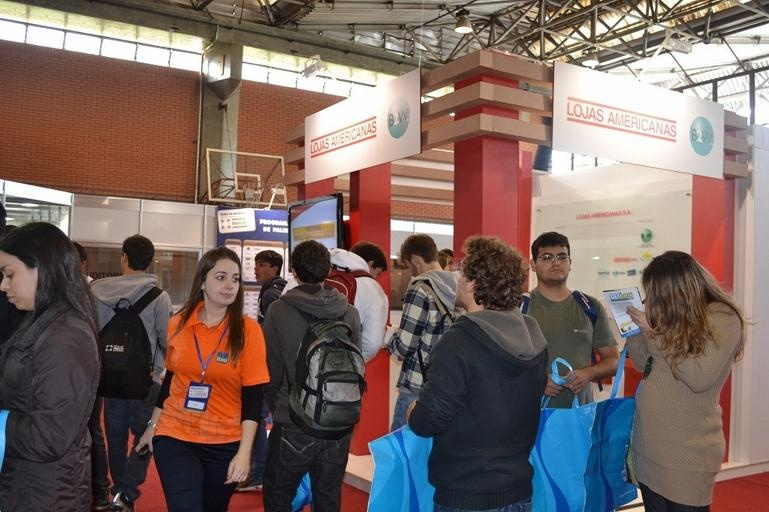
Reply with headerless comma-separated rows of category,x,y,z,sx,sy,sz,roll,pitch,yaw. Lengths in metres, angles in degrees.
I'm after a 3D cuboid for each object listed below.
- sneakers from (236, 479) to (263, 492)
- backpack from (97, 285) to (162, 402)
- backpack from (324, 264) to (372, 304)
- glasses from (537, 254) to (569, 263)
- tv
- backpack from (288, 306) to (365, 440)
sneakers,-1.156,1.968,5.258,0.262,0.115,0.088,6,-8,-22
backpack,-1.870,0.596,4.426,0.442,0.685,0.395,4,-8,-17
backpack,-0.306,0.237,4.544,0.324,0.346,0.374,7,7,-9
glasses,1.107,0.007,3.979,0.198,0.051,0.068,1,-1,-7
tv,-0.635,-0.231,5.881,0.074,0.661,0.911,1,-3,-38
backpack,-0.307,0.700,3.557,0.411,0.649,0.371,1,6,-36
